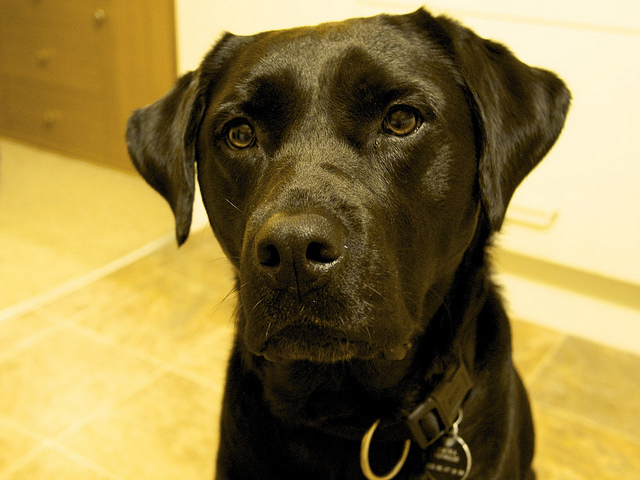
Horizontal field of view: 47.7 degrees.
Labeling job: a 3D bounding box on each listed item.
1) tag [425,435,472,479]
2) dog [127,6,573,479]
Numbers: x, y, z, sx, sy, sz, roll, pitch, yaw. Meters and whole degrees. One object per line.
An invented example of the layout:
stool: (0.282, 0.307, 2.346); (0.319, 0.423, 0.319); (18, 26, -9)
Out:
tag: (0.412, 0.677, 2.251); (0.128, 0.134, 0.028); (35, 3, 19)
dog: (0.118, 0.059, 2.314); (1.315, 1.526, 0.880); (7, 22, -7)
